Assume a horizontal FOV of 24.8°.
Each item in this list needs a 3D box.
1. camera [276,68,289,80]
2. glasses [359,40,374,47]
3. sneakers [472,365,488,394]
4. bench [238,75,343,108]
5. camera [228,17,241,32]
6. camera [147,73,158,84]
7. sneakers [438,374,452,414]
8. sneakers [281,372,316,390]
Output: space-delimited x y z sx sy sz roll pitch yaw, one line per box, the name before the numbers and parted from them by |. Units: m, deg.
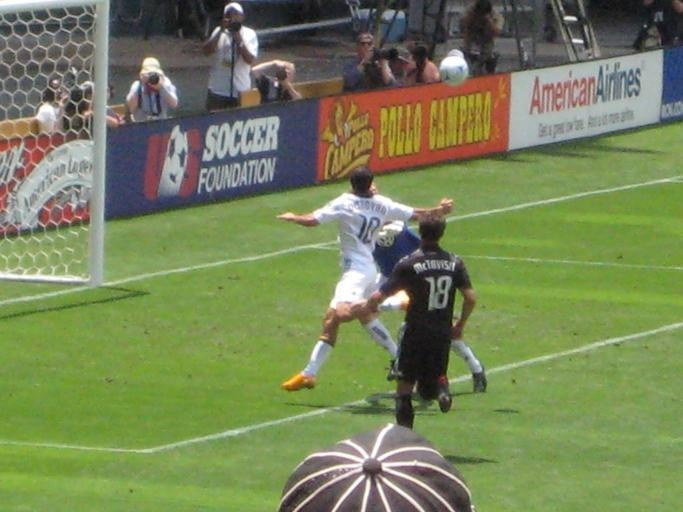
camera | -1.102 -3.339 28.436 0.215 0.182 0.203 -9 18 -25
glasses | 0.486 -4.069 29.677 0.281 0.130 0.145 -7 9 -33
sneakers | 1.760 1.652 20.427 0.116 0.287 0.232 -11 9 -33
bench | -0.998 -3.053 28.958 3.187 0.491 0.705 -9 19 -41
camera | -1.930 -4.153 27.823 0.217 0.188 0.192 32 10 -9
camera | -3.214 -3.083 26.811 0.175 0.147 0.170 -23 34 -37
sneakers | 1.264 1.742 19.532 0.174 0.391 0.252 -1 -30 5
sneakers | -0.576 1.667 20.564 0.434 0.178 0.209 -2 22 -2
